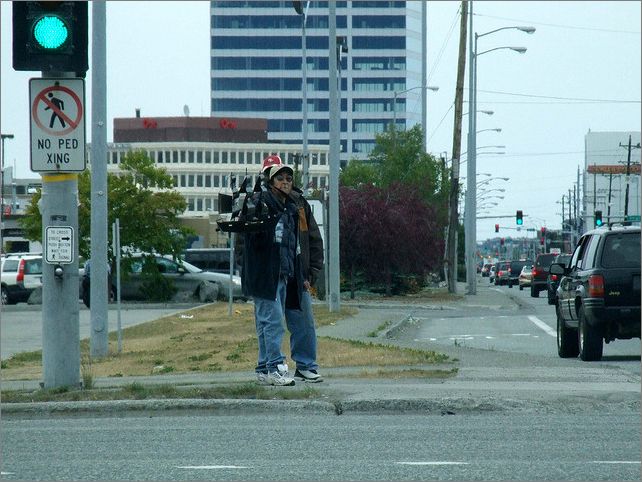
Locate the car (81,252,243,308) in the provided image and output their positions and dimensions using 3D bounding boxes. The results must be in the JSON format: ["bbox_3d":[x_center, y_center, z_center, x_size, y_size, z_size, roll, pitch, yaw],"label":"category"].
[{"bbox_3d":[-4.039,1.033,40.596,3.702,1.369,3.398,-1,2,-8],"label":"car"}]

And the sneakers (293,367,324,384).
[{"bbox_3d":[-0.180,2.131,23.153,0.446,0.256,0.186,0,-1,20],"label":"sneakers"}]

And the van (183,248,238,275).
[{"bbox_3d":[-3.669,0.664,48.323,2.014,1.205,0.817,0,5,4],"label":"van"}]

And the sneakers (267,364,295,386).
[{"bbox_3d":[-0.624,2.113,22.828,0.202,0.314,0.574,3,-8,-34],"label":"sneakers"}]

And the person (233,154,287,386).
[{"bbox_3d":[-0.805,0.516,22.953,0.875,3.447,0.590,0,2,-2],"label":"person"}]

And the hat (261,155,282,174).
[{"bbox_3d":[-0.786,-1.254,23.541,0.225,0.234,0.355,-1,-4,-32],"label":"hat"}]
